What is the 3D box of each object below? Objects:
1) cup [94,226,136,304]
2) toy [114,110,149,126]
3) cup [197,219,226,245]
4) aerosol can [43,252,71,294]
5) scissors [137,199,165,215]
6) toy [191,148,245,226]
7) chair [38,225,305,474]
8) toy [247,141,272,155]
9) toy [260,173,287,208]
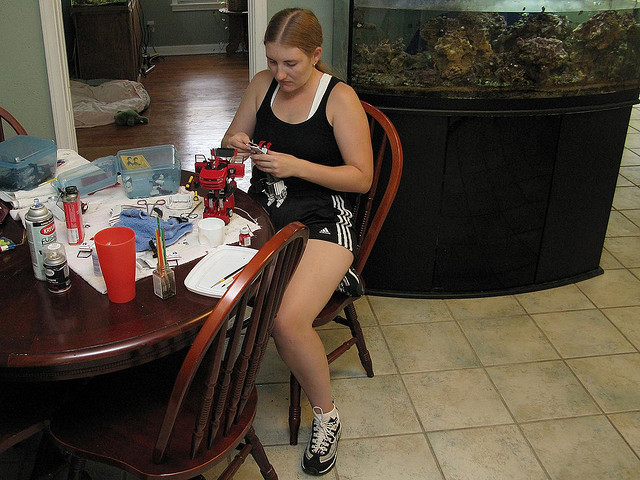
[{"bbox_3d":[-0.516,0.063,1.183,0.091,0.176,0.101,-14,30,-25],"label":"cup"},{"bbox_3d":[-2.085,-1.356,5.025,0.351,0.142,0.182,5,27,11],"label":"toy"},{"bbox_3d":[-0.333,-0.028,1.409,0.063,0.063,0.084,2,14,4],"label":"cup"},{"bbox_3d":[-0.697,0.078,1.203,0.065,0.105,0.065,1,15,0],"label":"aerosol can"},{"bbox_3d":[-0.588,-0.114,1.583,0.061,0.060,0.003,3,-15,-14],"label":"scissors"},{"bbox_3d":[-0.351,-0.190,1.568,0.167,0.247,0.111,5,20,6],"label":"toy"},{"bbox_3d":[-0.358,0.259,1.147,0.606,0.604,0.382,5,27,9],"label":"chair"},{"bbox_3d":[-0.218,-0.344,1.684,0.044,0.030,0.122,-19,32,-32],"label":"toy"},{"bbox_3d":[-0.195,-0.215,1.865,0.160,0.124,0.085,20,33,34],"label":"toy"}]
